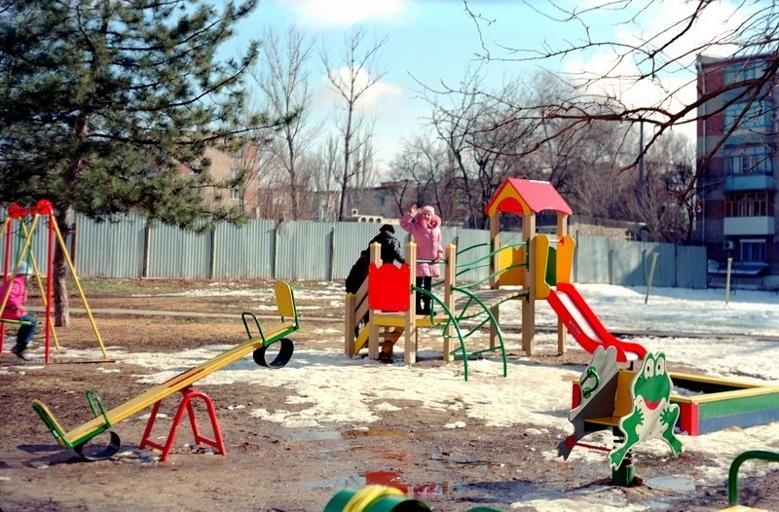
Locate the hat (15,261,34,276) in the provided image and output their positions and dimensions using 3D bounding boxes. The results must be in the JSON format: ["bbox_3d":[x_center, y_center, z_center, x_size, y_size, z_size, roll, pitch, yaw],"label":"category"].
[{"bbox_3d":[-7.424,0.290,18.401,0.366,0.219,0.266,-2,-5,43],"label":"hat"}]

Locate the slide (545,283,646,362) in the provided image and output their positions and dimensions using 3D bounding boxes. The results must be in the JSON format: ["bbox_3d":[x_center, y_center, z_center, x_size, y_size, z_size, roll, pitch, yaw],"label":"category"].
[{"bbox_3d":[3.986,1.302,17.741,0.612,1.134,2.234,-5,11,-34],"label":"slide"}]
